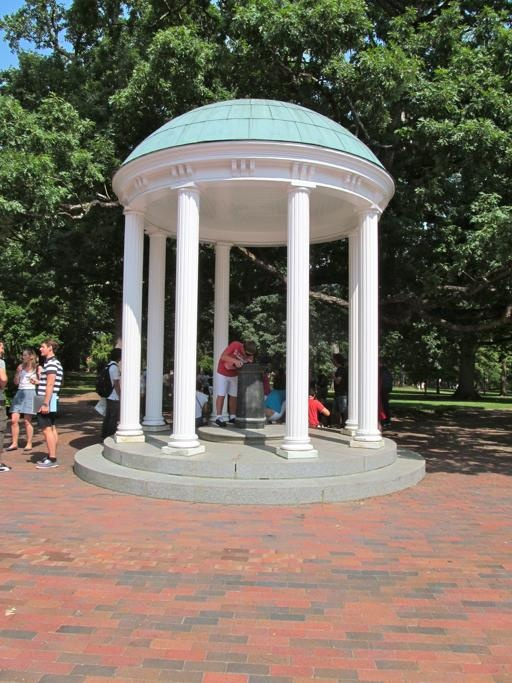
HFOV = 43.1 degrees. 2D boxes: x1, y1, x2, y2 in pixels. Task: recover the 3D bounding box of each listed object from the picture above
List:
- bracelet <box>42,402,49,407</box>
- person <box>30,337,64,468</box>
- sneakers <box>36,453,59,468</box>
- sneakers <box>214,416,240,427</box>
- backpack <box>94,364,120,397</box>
[{"bbox_3d":[-2.795,0.838,8.671,0.069,0.070,0.048,-2,1,35],"label":"bracelet"},{"bbox_3d":[-2.875,0.877,9.010,0.341,1.762,0.796,1,3,-18],"label":"person"},{"bbox_3d":[-2.912,1.685,9.058,0.336,0.131,0.135,3,-11,-10],"label":"sneakers"},{"bbox_3d":[-0.492,1.339,10.803,0.182,0.204,0.530,5,-13,-44],"label":"sneakers"},{"bbox_3d":[-2.528,0.679,11.002,0.263,0.638,0.603,0,4,-36],"label":"backpack"}]
